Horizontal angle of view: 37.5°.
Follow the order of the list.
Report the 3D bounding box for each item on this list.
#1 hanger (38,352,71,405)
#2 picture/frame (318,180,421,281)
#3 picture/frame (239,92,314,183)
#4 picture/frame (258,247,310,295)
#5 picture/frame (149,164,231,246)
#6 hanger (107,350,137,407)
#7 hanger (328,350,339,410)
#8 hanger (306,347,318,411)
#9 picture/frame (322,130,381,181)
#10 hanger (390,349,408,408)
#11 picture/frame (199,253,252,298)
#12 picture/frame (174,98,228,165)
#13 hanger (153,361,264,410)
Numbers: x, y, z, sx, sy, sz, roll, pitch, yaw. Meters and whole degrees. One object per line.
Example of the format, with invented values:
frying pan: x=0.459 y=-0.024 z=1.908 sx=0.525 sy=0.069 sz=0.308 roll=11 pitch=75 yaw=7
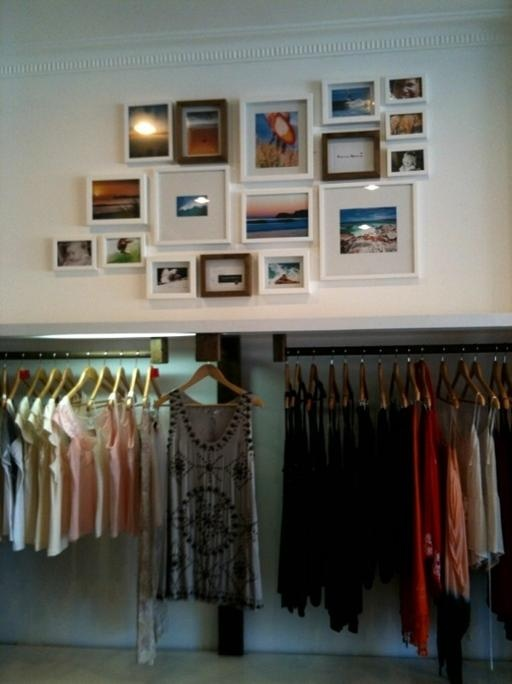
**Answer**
hanger: x=-0.664 y=0.144 z=2.486 sx=0.100 sy=0.108 sz=0.384 roll=-5 pitch=4 yaw=-14
picture/frame: x=0.384 y=-0.365 z=2.456 sx=0.242 sy=0.318 sz=0.012 roll=-1 pitch=-3 yaw=3
picture/frame: x=0.066 y=-0.689 z=2.515 sx=0.234 sy=0.026 sz=0.304 roll=-2 pitch=-39 yaw=1
picture/frame: x=0.095 y=-0.234 z=2.478 sx=0.117 sy=0.138 sz=0.015 roll=0 pitch=-5 yaw=2
picture/frame: x=-0.213 y=-0.460 z=2.531 sx=0.202 sy=0.266 sz=0.016 roll=0 pitch=2 yaw=12
hanger: x=-0.440 y=0.126 z=2.491 sx=0.094 sy=0.108 sz=0.365 roll=-4 pitch=4 yaw=-9
hanger: x=0.248 y=0.119 z=2.421 sx=0.020 sy=0.202 sz=0.068 roll=-1 pitch=-4 yaw=1
hanger: x=0.183 y=0.113 z=2.452 sx=0.050 sy=0.197 sz=0.228 roll=-3 pitch=3 yaw=4
picture/frame: x=0.316 y=-0.612 z=2.459 sx=0.122 sy=0.140 sz=0.017 roll=0 pitch=-4 yaw=6
hanger: x=0.458 y=0.115 z=2.421 sx=0.025 sy=0.194 sz=0.051 roll=-5 pitch=17 yaw=5
picture/frame: x=-0.097 y=-0.224 z=2.495 sx=0.108 sy=0.128 sz=0.041 roll=0 pitch=-3 yaw=4
picture/frame: x=-0.183 y=-0.698 z=2.534 sx=0.177 sy=0.269 sz=0.025 roll=-2 pitch=-30 yaw=-2
hanger: x=-0.153 y=0.130 z=2.462 sx=0.331 sy=0.093 sz=0.363 roll=-5 pitch=4 yaw=0
